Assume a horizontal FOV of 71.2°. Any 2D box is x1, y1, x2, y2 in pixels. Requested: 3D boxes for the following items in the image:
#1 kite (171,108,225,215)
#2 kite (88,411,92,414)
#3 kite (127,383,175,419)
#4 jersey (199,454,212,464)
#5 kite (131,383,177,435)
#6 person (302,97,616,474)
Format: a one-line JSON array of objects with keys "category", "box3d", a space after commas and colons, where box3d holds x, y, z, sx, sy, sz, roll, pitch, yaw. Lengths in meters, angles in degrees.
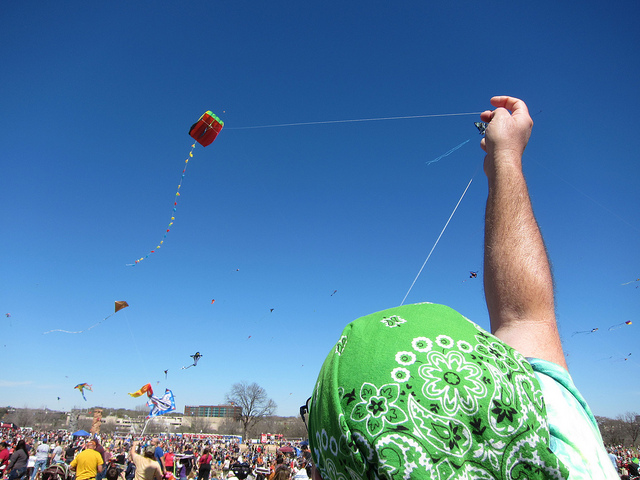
[{"category": "kite", "box3d": [-1.946, -1.334, 6.879, 0.390, 1.843, 0.282, 32, -52, -22]}, {"category": "kite", "box3d": [-51.060, 37.780, 99.028, 0.247, 0.616, 0.762, 18, -33, -30]}, {"category": "kite", "box3d": [-5.165, 4.688, 13.544, 1.045, 0.201, 1.521, -17, -31, 2]}, {"category": "jersey", "box3d": [-3.762, 7.117, 14.666, 0.301, 0.304, 0.711, 5, -30, -10]}, {"category": "kite", "box3d": [-5.238, 5.325, 13.820, 1.377, 0.276, 2.002, 15, -75, -12]}, {"category": "person", "box3d": [0.336, -0.056, 1.164, 0.693, 1.176, 0.362, 17, -32, -30]}]
